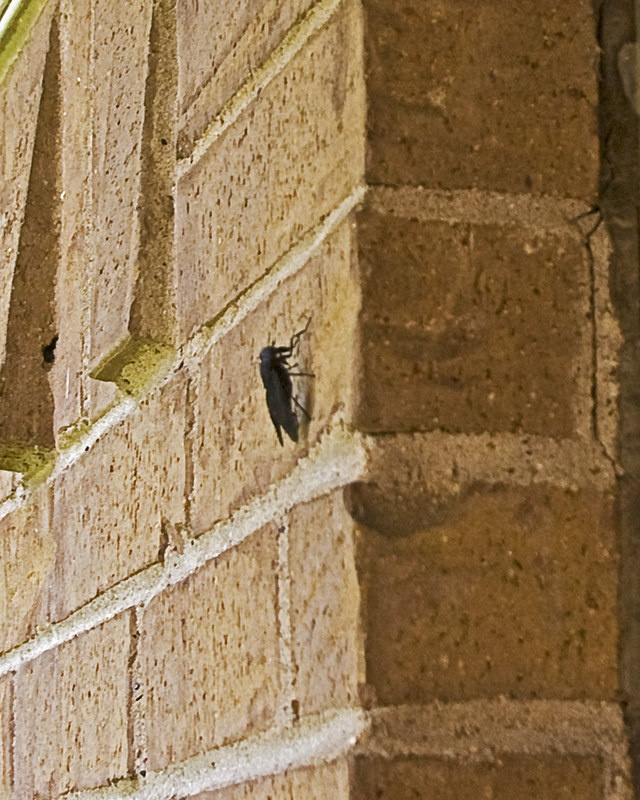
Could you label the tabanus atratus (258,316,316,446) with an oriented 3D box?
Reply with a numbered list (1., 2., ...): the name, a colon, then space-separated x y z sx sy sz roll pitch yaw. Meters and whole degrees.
1. tabanus atratus: -0.028 -0.018 2.184 0.022 0.055 0.090 2 81 -33
